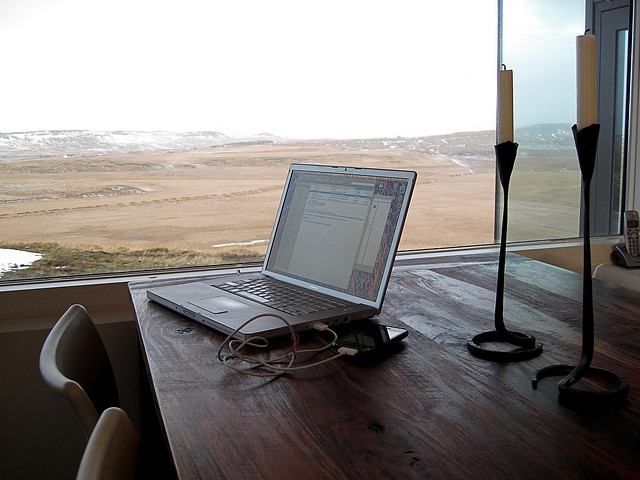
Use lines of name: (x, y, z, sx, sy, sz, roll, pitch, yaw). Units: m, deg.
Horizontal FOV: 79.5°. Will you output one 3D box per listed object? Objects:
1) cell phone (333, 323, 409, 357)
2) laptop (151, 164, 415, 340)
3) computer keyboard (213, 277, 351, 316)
cell phone: (0.096, 0.176, 0.720, 0.099, 0.073, 0.053, -2, 11, -33)
laptop: (-0.106, 0.013, 0.874, 0.575, 0.248, 0.531, -8, 14, -12)
computer keyboard: (-0.094, 0.105, 0.921, 0.316, 0.051, 0.262, -2, 7, -30)
